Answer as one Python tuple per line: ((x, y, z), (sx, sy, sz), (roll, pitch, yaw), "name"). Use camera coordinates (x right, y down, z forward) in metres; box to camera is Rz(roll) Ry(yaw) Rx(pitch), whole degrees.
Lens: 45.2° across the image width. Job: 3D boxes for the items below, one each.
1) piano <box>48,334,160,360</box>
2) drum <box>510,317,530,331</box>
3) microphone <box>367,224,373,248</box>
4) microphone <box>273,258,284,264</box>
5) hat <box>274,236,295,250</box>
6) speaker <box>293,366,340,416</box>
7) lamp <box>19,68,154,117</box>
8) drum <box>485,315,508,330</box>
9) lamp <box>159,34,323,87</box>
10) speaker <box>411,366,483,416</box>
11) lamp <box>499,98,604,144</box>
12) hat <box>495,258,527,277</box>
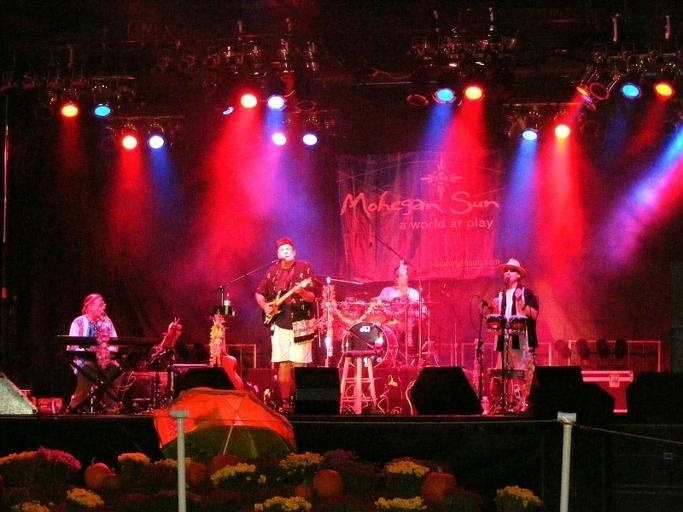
((-3.162, 1.234, 11.160), (1.290, 0.292, 0.788), (3, -9, -12), "piano")
((2.306, 0.868, 10.725), (0.195, 0.176, 0.215), (-2, -9, 21), "drum")
((0.471, -0.333, 13.619), (0.083, 0.375, 0.034), (1, -8, 3), "microphone")
((-0.882, 0.070, 11.287), (0.117, 0.110, 0.068), (17, -2, 5), "microphone")
((-0.796, -0.215, 11.263), (0.232, 0.157, 0.220), (4, -9, -32), "hat")
((-0.260, 1.507, 9.359), (0.571, 0.514, 0.507), (1, -1, 0), "speaker")
((-4.037, -2.486, 12.557), (1.652, 0.516, 0.673), (3, -9, -14), "lamp")
((2.002, 0.854, 10.623), (0.197, 0.130, 0.203), (3, -17, 1), "drum")
((-1.435, -2.844, 11.940), (1.428, 0.282, 0.939), (-1, -43, -9), "lamp")
((1.153, 1.535, 9.190), (0.596, 0.440, 0.691), (-3, -11, -2), "speaker")
((3.322, -2.148, 13.132), (1.492, 0.528, 0.874), (0, -9, 8), "lamp")
((2.557, 0.131, 12.326), (0.363, 0.120, 0.349), (13, -30, 4), "hat")
